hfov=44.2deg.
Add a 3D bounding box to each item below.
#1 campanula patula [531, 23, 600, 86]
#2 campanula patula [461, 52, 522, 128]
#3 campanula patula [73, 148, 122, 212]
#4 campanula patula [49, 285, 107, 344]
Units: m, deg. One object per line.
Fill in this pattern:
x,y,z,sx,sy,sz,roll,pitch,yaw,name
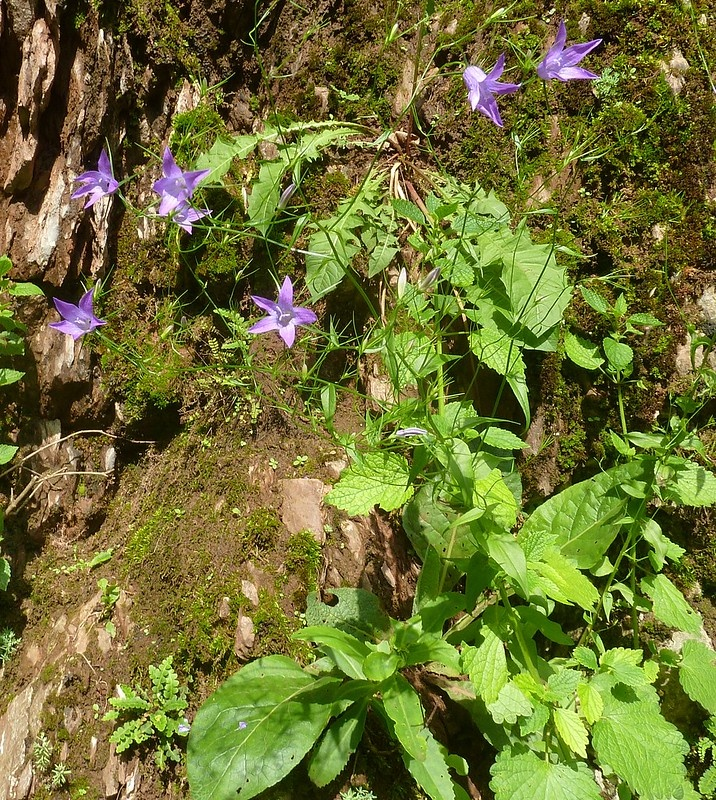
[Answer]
0.678,-1.102,2.931,0.200,0.259,0.137,-17,21,2,campanula patula
0.420,-0.936,2.859,0.103,0.293,0.211,-7,-14,39,campanula patula
-1.012,-0.839,3.402,0.154,0.268,0.304,-3,27,-17,campanula patula
-1.046,-0.321,3.275,0.178,0.223,0.222,-6,27,-24,campanula patula
